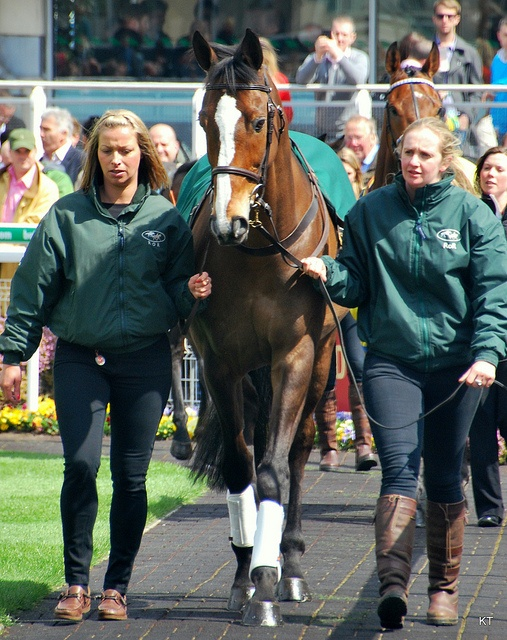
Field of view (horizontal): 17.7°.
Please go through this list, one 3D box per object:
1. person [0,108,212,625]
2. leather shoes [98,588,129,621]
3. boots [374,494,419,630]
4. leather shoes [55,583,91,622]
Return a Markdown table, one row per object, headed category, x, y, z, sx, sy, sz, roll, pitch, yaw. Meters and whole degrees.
| category | x | y | z | sx | sy | sz | roll | pitch | yaw |
| --- | --- | --- | --- | --- | --- | --- | --- | --- | --- |
| person | -0.672 | 0.202 | 7.343 | 0.895 | 2.251 | 0.455 | -1 | 7 | -15 |
| leather shoes | -0.607 | 1.274 | 7.321 | 0.085 | 0.142 | 0.179 | 8 | 10 | 44 |
| boots | 0.598 | 1.071 | 6.942 | 0.172 | 0.611 | 0.328 | 1 | 7 | 4 |
| leather shoes | -0.803 | 1.258 | 7.361 | 0.146 | 0.154 | 0.240 | 1 | 7 | 0 |
